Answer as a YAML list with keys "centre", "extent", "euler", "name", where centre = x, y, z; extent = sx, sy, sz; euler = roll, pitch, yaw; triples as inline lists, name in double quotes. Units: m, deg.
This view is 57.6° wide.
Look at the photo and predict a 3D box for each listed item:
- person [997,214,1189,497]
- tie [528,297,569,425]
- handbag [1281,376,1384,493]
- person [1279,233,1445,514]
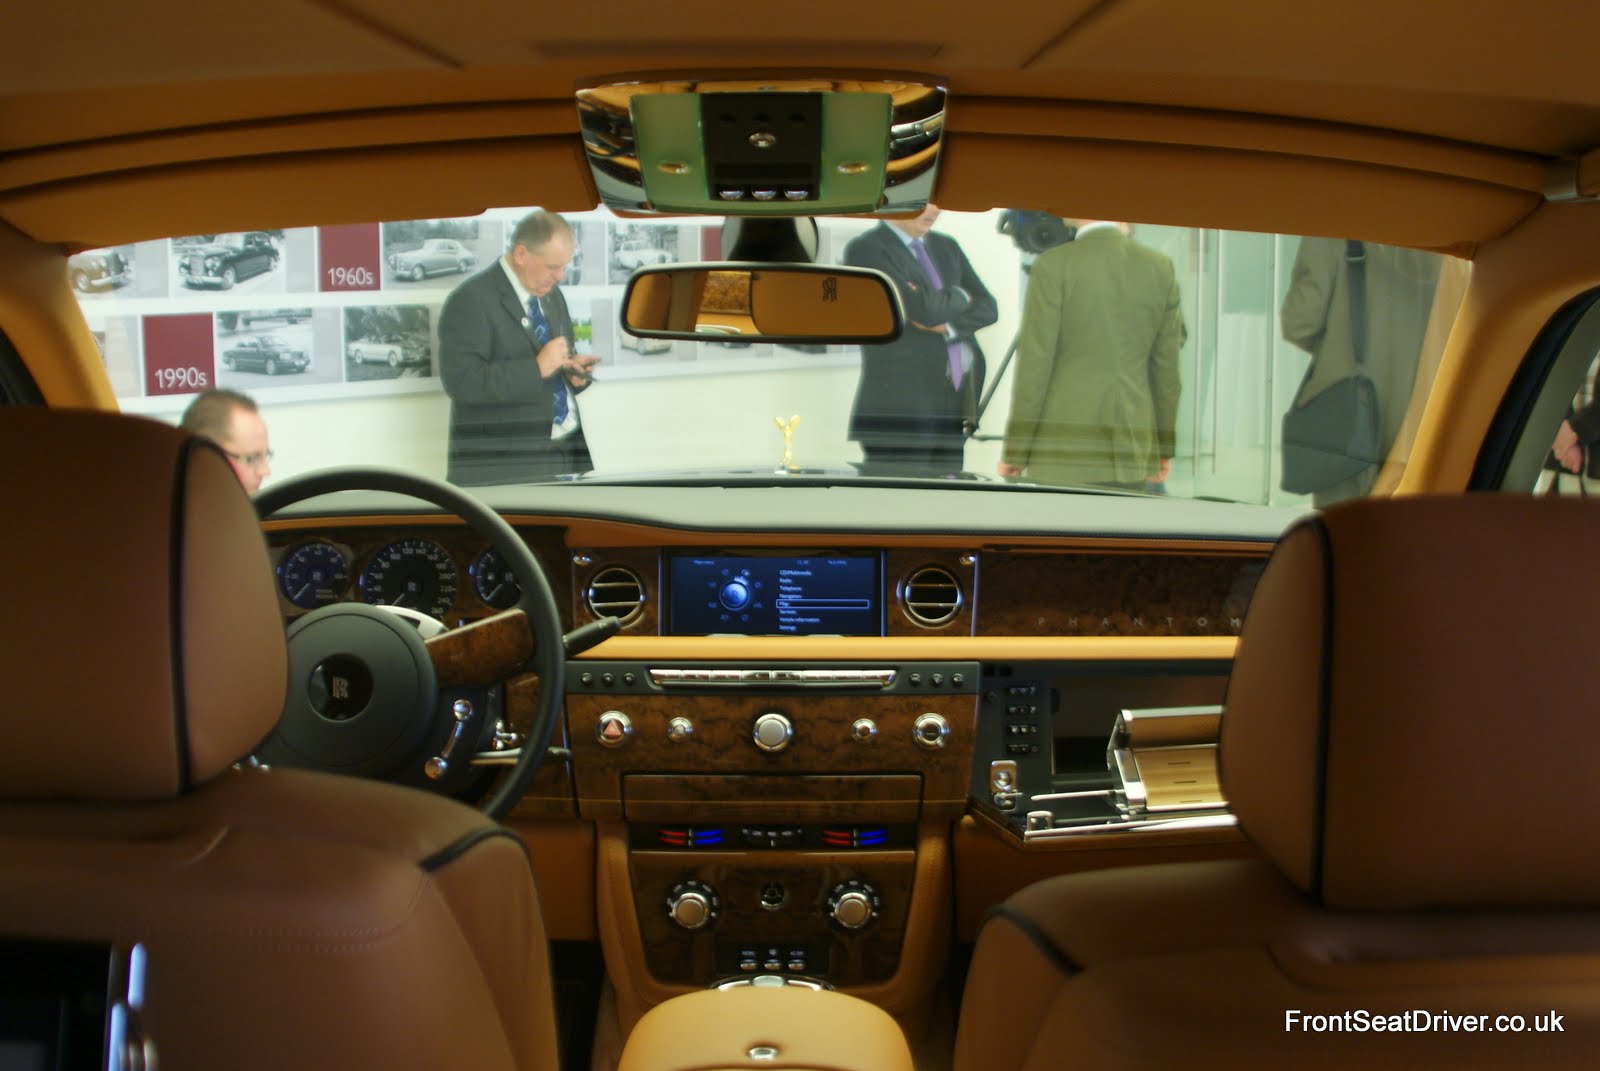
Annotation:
- centre: [1.007, -0.490, 4.892]
  extent: [0.446, 1.353, 0.402]
  euler: [-2, 18, -10]
  name: "person"
- centre: [-0.738, -0.526, 4.352]
  extent: [0.065, 0.312, 0.178]
  euler: [-1, -1, 24]
  name: "tie"
- centre: [1.364, -0.258, 3.688]
  extent: [0.080, 0.248, 0.162]
  euler: [10, -7, -27]
  name: "handbag"
- centre: [1.394, -0.485, 3.572]
  extent: [0.357, 0.825, 0.172]
  euler: [7, 43, 28]
  name: "person"
